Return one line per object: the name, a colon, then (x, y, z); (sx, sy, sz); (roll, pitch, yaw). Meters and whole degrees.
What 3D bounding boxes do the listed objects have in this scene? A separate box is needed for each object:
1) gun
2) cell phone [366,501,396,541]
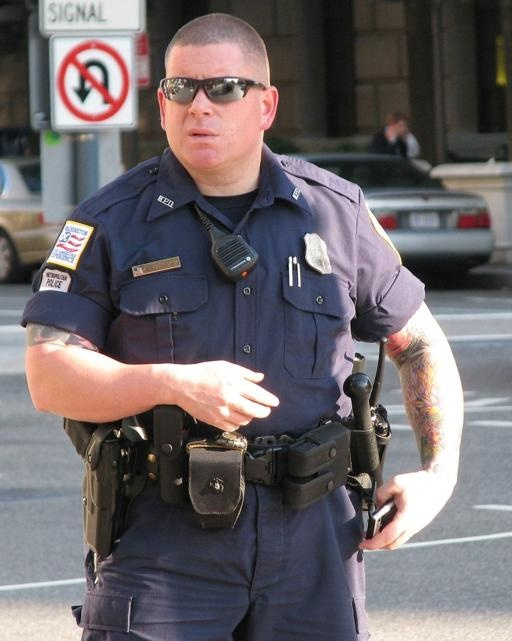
gun: (-0.308, 0.326, 2.241); (0.080, 0.276, 0.210); (-5, 9, -26)
cell phone: (0.242, 0.376, 2.197); (0.016, 0.060, 0.068); (47, 33, 15)
